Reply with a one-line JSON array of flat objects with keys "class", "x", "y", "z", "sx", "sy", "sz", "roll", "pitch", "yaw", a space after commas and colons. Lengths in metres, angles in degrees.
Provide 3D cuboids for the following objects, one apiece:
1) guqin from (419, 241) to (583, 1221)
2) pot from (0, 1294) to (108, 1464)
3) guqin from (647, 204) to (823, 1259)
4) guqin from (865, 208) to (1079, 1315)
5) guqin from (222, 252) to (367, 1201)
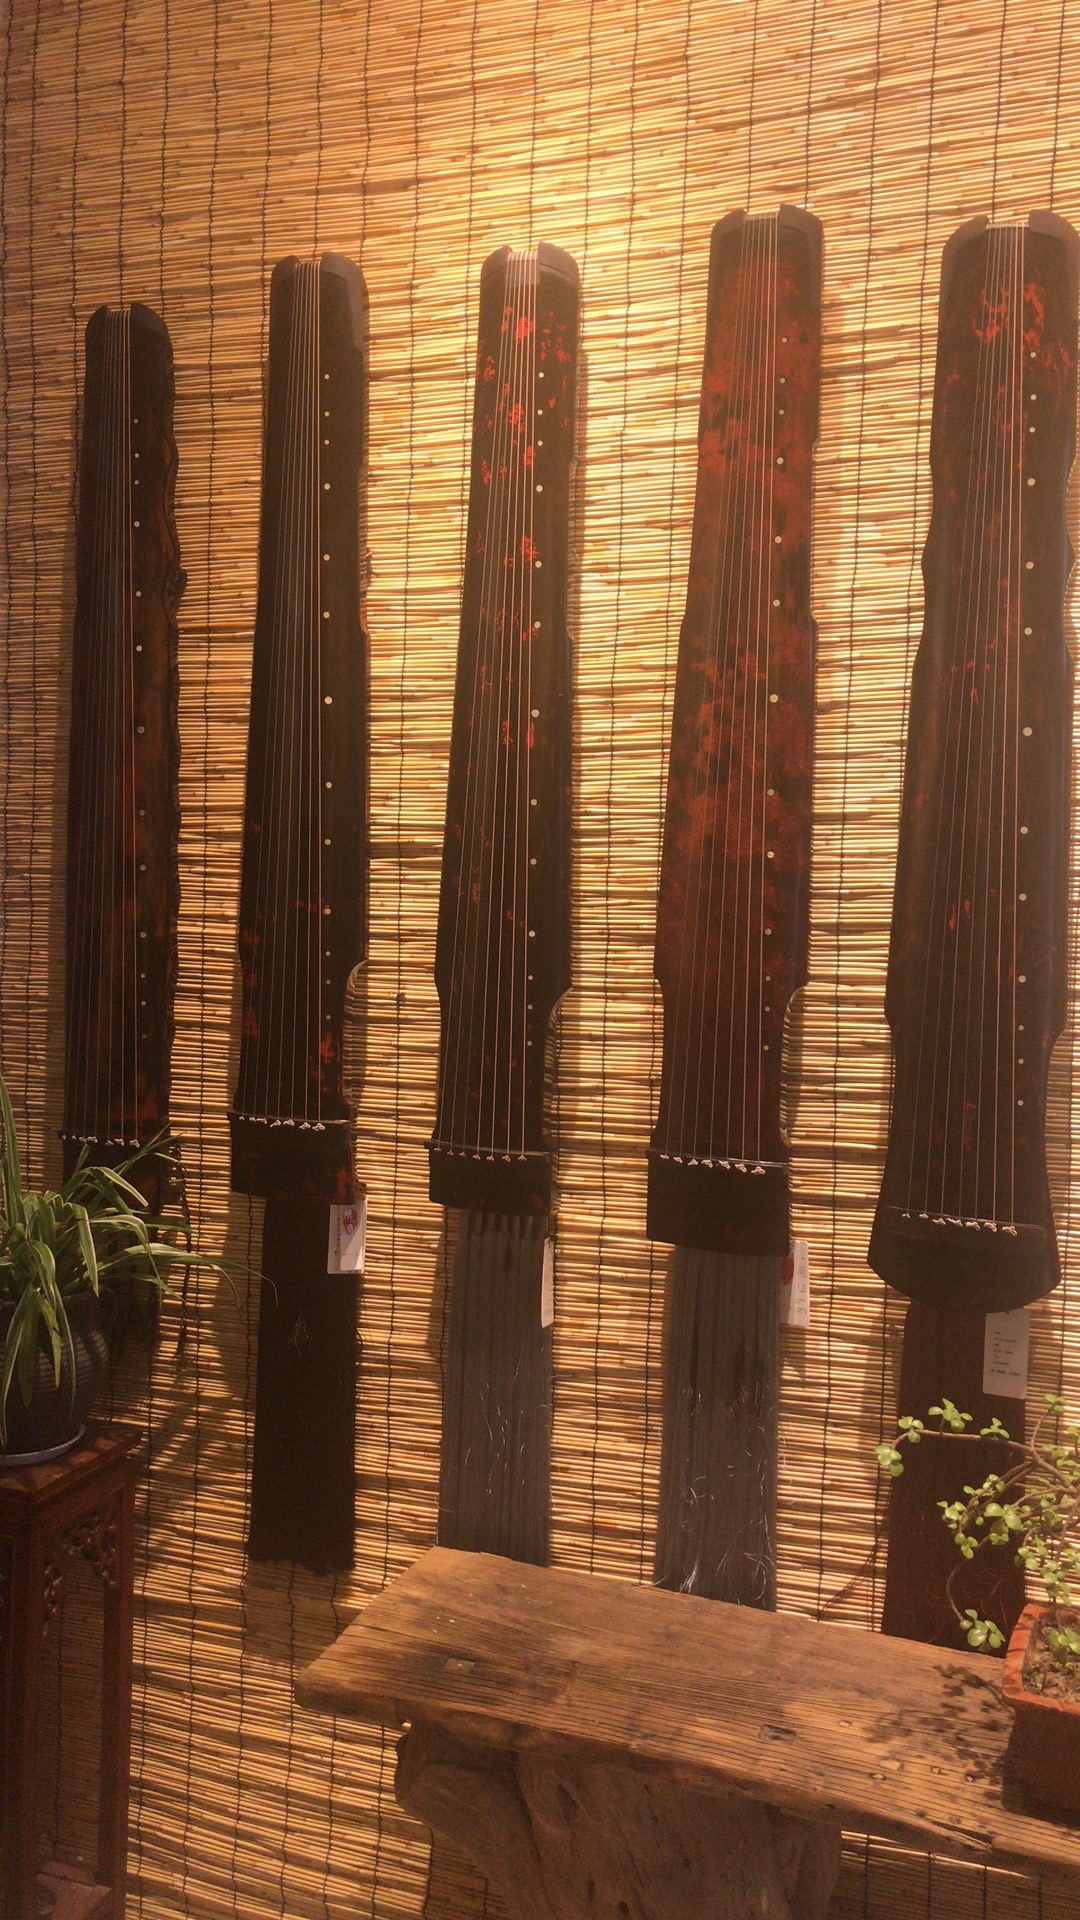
[{"class": "guqin", "x": -0.051, "y": -0.314, "z": 2.184, "sx": 0.188, "sy": 1.302, "sz": 0.140, "roll": 1, "pitch": 4, "yaw": 2}, {"class": "pot", "x": -0.633, "y": 0.556, "z": 2.176, "sx": 0.156, "sy": 0.196, "sz": 0.169, "roll": -1, "pitch": 5, "yaw": 0}, {"class": "guqin", "x": 0.252, "y": -0.294, "z": 2.056, "sx": 0.181, "sy": 1.318, "sz": 0.122, "roll": 1, "pitch": 4, "yaw": 16}, {"class": "guqin", "x": 0.526, "y": -0.243, "z": 1.943, "sx": 0.224, "sy": 1.311, "sz": 0.157, "roll": 1, "pitch": 4, "yaw": 13}, {"class": "guqin", "x": -0.348, "y": -0.340, "z": 2.321, "sx": 0.193, "sy": 1.352, "sz": 0.164, "roll": 0, "pitch": 4, "yaw": 1}]
